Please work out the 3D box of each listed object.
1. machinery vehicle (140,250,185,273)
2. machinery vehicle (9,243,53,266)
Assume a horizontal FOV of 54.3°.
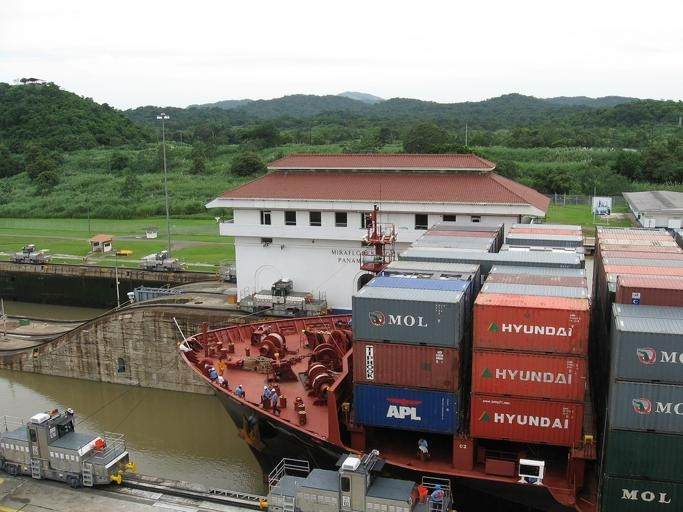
[{"bbox_3d":[-14.661,0.472,54.646,3.124,1.453,1.803,1,9,6],"label":"machinery vehicle"},{"bbox_3d":[-28.133,0.086,59.714,4.052,1.738,2.312,0,9,5],"label":"machinery vehicle"}]
